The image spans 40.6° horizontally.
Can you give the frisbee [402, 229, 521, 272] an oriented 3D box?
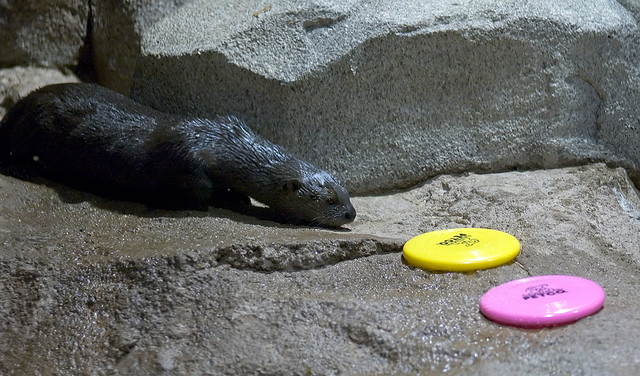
[{"bbox_3d":[1.115,0.522,7.407,0.538,0.095,0.511,-6,11,-19],"label":"frisbee"}]
